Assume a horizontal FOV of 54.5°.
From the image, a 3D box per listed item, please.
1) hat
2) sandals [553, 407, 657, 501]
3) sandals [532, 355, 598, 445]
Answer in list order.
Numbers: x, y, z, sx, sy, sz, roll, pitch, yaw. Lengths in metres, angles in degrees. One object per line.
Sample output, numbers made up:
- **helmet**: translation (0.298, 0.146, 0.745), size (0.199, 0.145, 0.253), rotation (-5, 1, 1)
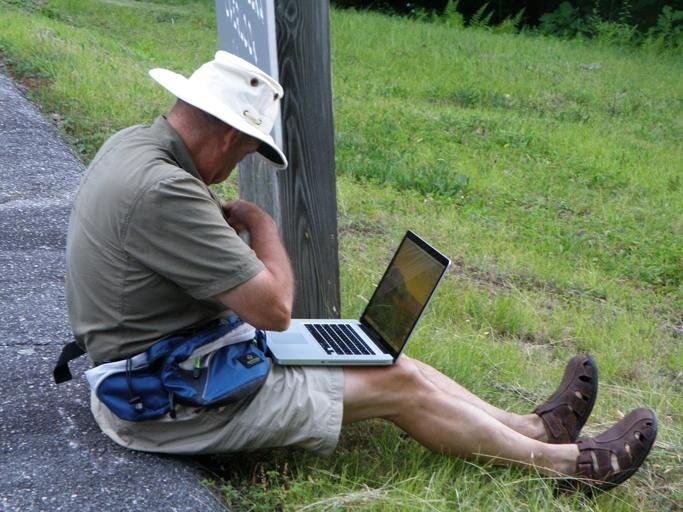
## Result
- **hat**: translation (-0.556, -0.678, 3.168), size (0.668, 0.529, 0.360), rotation (8, 27, -13)
- **sandals**: translation (1.367, 1.027, 3.424), size (0.279, 0.685, 0.248), rotation (57, 12, 27)
- **sandals**: translation (1.229, 0.783, 3.621), size (0.223, 0.616, 0.221), rotation (17, 2, -42)
